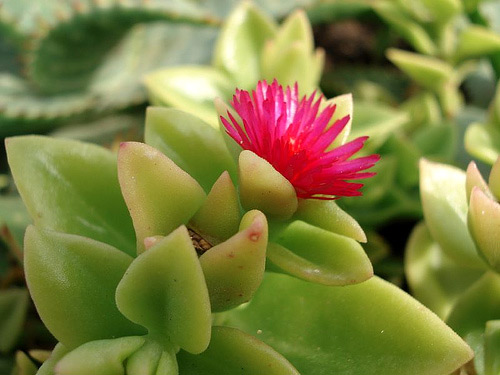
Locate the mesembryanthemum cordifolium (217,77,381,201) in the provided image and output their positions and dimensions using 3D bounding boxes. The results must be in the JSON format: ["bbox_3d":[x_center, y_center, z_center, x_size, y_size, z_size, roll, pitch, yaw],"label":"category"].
[{"bbox_3d":[0.033,-0.043,0.501,0.122,0.060,0.101,5,-5,-40],"label":"mesembryanthemum cordifolium"}]
